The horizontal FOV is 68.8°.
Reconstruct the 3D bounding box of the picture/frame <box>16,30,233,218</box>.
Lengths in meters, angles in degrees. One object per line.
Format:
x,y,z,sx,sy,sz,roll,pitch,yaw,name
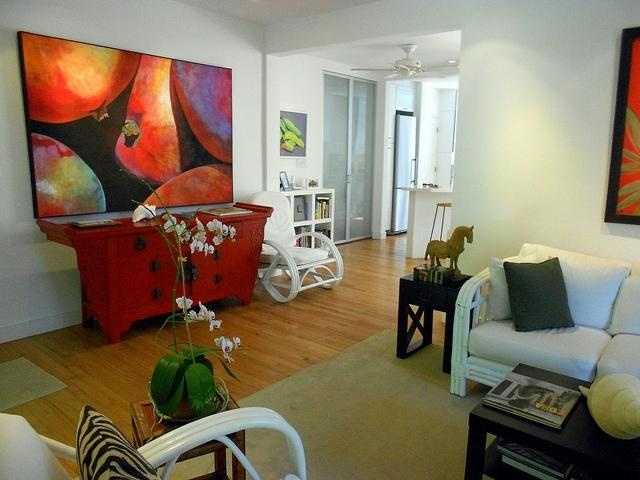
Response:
-1.880,-1.081,4.342,0.036,1.401,2.035,8,12,44,picture/frame

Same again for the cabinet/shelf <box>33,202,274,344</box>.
-1.437,0.268,4.572,0.670,1.038,2.055,8,14,44,cabinet/shelf

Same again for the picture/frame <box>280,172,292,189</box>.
-0.481,-0.820,6.527,0.122,0.228,0.231,-10,10,19,picture/frame

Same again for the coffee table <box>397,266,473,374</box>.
0.978,0.641,3.874,0.553,0.707,0.568,6,14,30,coffee table

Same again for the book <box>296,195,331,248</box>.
-0.114,-0.276,6.631,0.243,0.795,0.735,7,7,38,book

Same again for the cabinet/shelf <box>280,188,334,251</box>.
-0.162,-0.274,6.883,0.841,0.812,0.263,-3,4,34,cabinet/shelf

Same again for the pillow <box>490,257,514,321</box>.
1.305,0.361,3.345,0.140,0.402,0.411,-2,4,22,pillow

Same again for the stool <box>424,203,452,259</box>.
1.819,-0.280,7.095,0.287,0.665,0.789,2,15,14,stool

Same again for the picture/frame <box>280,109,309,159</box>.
-0.393,-1.546,6.756,0.036,0.799,0.787,5,9,34,picture/frame

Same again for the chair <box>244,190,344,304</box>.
-0.323,-0.010,5.587,1.009,1.463,1.250,-9,12,-43,chair

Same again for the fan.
1.350,-2.550,6.894,1.320,0.399,2.156,2,15,15,fan

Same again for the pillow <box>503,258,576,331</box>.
1.535,0.381,3.255,0.477,0.427,0.298,-5,15,-12,pillow
